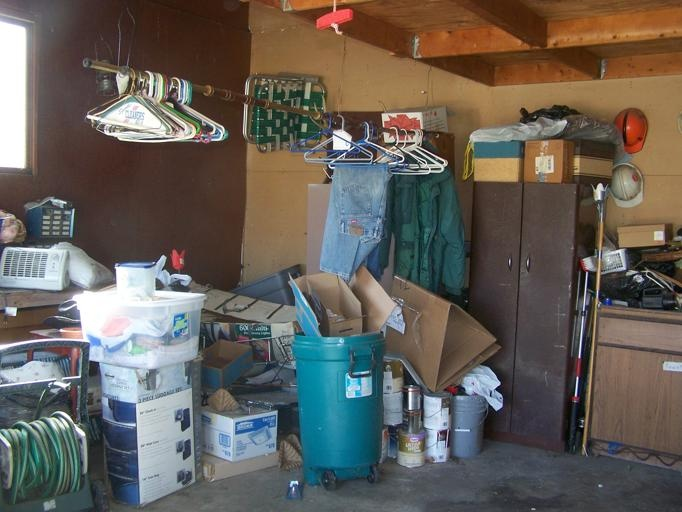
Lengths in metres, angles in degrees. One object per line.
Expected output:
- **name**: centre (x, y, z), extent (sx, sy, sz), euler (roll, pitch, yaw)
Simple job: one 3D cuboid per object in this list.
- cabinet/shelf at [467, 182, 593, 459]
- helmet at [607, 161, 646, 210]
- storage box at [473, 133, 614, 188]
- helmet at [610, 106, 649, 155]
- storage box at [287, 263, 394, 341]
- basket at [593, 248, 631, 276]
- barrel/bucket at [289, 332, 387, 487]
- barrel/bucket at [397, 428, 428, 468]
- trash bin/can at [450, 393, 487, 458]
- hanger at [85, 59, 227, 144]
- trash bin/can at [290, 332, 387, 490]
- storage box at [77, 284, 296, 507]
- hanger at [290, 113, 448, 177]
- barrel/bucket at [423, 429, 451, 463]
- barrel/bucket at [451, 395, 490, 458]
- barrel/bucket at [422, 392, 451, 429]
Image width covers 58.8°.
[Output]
- **cabinet/shelf**: centre (1.506, 0.479, 5.122), extent (0.853, 2.179, 0.329), euler (2, 6, 17)
- **helmet**: centre (2.560, -0.626, 5.434), extent (0.389, 0.137, 0.284), euler (-53, 21, -20)
- **storage box**: centre (1.725, -0.797, 5.168), extent (1.177, 0.353, 0.435), euler (2, 6, 10)
- **helmet**: centre (2.570, -1.104, 5.347), extent (0.305, 0.415, 0.142), euler (6, 16, 25)
- **storage box**: centre (0.034, 0.353, 4.512), extent (0.491, 0.280, 0.576), euler (-9, 34, -24)
- **basket**: centre (2.245, 0.052, 5.002), extent (0.270, 0.195, 0.177), euler (-17, -19, 42)
- **barrel/bucket**: centre (-0.011, 1.077, 4.428), extent (0.669, 1.082, 0.748), euler (-1, 2, -28)
- **barrel/bucket**: centre (0.536, 1.465, 4.682), extent (0.213, 0.258, 0.226), euler (2, 0, 0)
- **trash bin/can**: centre (1.018, 1.350, 4.979), extent (0.422, 0.454, 0.396), euler (2, 1, 26)
- **hanger**: centre (-1.139, -0.873, 3.697), extent (0.499, 0.308, 0.726), euler (6, 5, 34)
- **trash bin/can**: centre (0.013, 1.080, 4.402), extent (0.685, 1.072, 0.723), euler (-1, -1, -30)
- **storage box**: centre (-1.280, 0.744, 4.496), extent (1.002, 1.844, 1.220), euler (8, 12, 39)
- **hanger**: centre (0.261, -0.988, 5.248), extent (1.013, 0.578, 1.462), euler (0, 6, -6)
- **barrel/bucket**: centre (0.755, 1.482, 4.787), extent (0.209, 0.242, 0.212), euler (1, -8, 0)
- **barrel/bucket**: centre (1.031, 1.347, 4.980), extent (0.416, 0.447, 0.393), euler (1, 1, 0)
- **barrel/bucket**: centre (0.757, 1.222, 4.815), extent (0.246, 0.299, 0.257), euler (0, 5, 0)
